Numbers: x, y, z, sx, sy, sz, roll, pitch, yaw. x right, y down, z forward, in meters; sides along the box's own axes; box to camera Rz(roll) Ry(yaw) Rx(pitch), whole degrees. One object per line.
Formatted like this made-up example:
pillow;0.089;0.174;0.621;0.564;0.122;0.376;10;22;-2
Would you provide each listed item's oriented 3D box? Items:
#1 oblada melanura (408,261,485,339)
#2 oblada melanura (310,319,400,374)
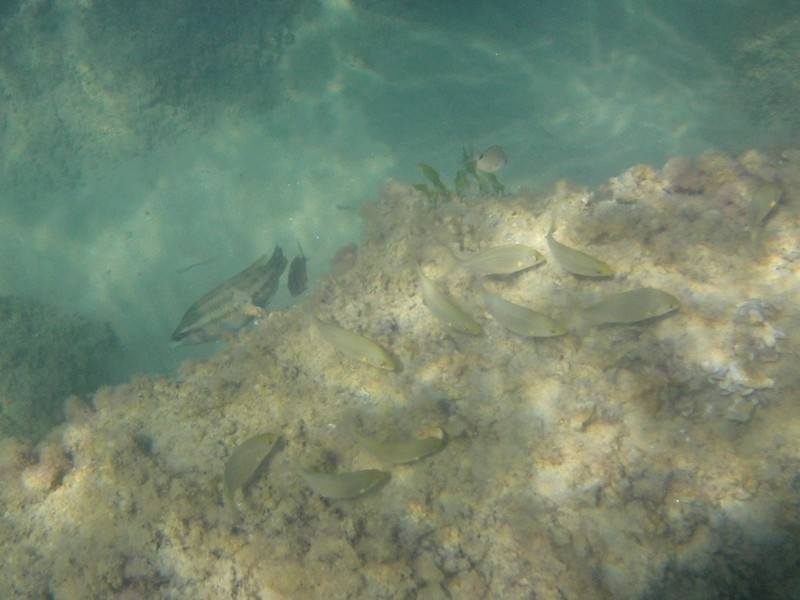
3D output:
oblada melanura;0.501;0.032;10.835;0.282;0.146;0.828;-41;60;10
oblada melanura;-0.439;0.502;10.872;0.687;0.254;0.161;30;52;35
